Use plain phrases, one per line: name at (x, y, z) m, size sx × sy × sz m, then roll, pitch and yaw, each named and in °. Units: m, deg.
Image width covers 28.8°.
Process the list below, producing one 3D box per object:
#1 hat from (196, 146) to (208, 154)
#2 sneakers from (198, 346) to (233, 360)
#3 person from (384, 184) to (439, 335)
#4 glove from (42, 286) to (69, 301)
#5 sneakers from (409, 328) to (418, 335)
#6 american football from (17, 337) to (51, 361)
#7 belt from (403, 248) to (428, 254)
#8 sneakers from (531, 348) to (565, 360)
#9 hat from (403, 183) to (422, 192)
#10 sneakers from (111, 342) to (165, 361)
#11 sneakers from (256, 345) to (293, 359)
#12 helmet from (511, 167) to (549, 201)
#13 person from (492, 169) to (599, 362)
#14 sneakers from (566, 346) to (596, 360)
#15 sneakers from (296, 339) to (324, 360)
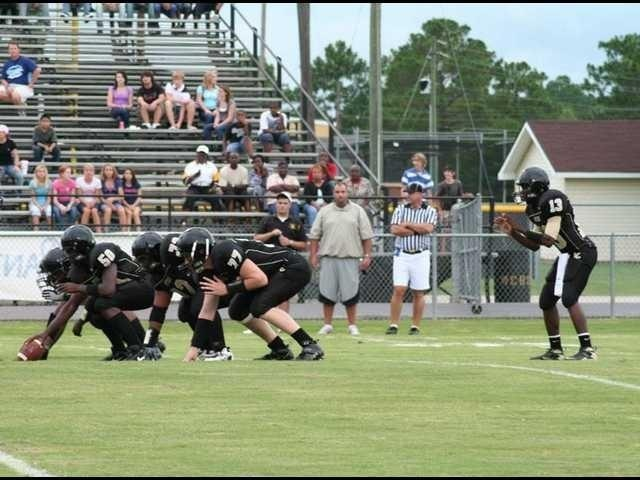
hat at (-2.130, -1.659, 22.780) m, size 0.212 × 0.086 × 0.294 m, roll 11°, pitch 3°, yaw -5°
sneakers at (-1.225, 1.373, 14.874) m, size 0.465 × 0.153 × 0.138 m, roll 3°, pitch -4°, yaw -3°
person at (1.372, 0.284, 18.718) m, size 0.683 × 2.282 × 0.943 m, roll 1°, pitch 16°, yaw 5°
glove at (-3.223, 0.653, 15.258) m, size 0.285 × 0.104 × 0.368 m, roll 26°, pitch -10°, yaw -29°
sneakers at (1.411, 1.369, 18.628) m, size 0.142 × 0.111 × 0.247 m, roll 1°, pitch 14°, yaw 5°
american football at (-3.379, 1.324, 14.830) m, size 0.361 × 0.241 × 0.245 m, roll -24°, pitch -36°, yaw -11°
belt at (1.433, 0.177, 18.690) m, size 0.376 × 0.067 × 0.063 m, roll 0°, pitch 15°, yaw -3°
sneakers at (2.758, 1.383, 14.972) m, size 0.453 × 0.147 × 0.134 m, roll 1°, pitch -3°, yaw -1°
hat at (1.404, -0.788, 18.678) m, size 0.208 × 0.085 × 0.132 m, roll 11°, pitch 9°, yaw -14°
sneakers at (-2.168, 1.371, 14.981) m, size 0.672 × 0.221 × 0.202 m, roll 0°, pitch -6°, yaw 2°
sneakers at (-0.578, 1.366, 14.982) m, size 0.509 × 0.162 × 0.151 m, roll 1°, pitch -2°, yaw 7°
helmet at (2.577, -0.682, 14.991) m, size 0.478 × 0.366 × 0.366 m, roll -8°, pitch 8°, yaw -3°
person at (2.806, 0.366, 14.935) m, size 1.113 × 2.392 × 1.009 m, roll 3°, pitch 16°, yaw 11°
sneakers at (3.106, 1.374, 14.952) m, size 0.410 × 0.141 × 0.123 m, roll -1°, pitch -1°, yaw 7°
sneakers at (-0.085, 1.315, 14.775) m, size 0.323 × 0.129 × 0.200 m, roll -10°, pitch 16°, yaw -7°
